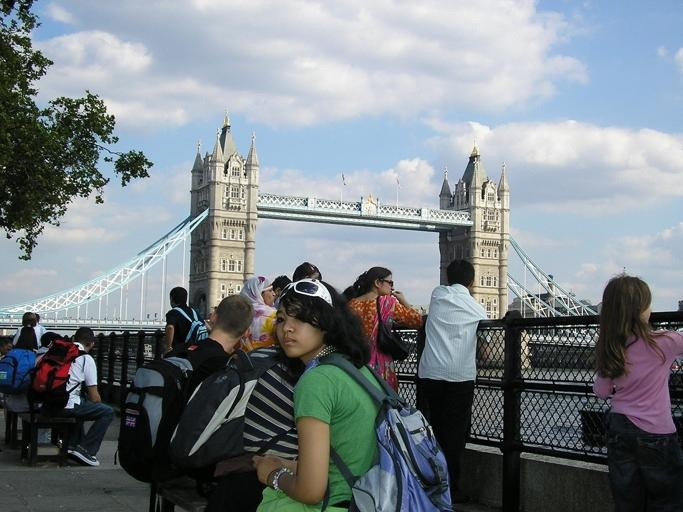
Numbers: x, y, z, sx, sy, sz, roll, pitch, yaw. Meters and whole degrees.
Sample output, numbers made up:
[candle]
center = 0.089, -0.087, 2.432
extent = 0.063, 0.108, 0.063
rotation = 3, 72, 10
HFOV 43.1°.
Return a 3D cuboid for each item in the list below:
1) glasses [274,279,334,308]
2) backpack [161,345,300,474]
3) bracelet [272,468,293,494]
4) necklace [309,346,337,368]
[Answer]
[glasses]
center = -0.135, 0.150, 3.866
extent = 0.148, 0.157, 0.046
rotation = 0, 30, 17
[backpack]
center = -0.559, 0.715, 4.031
extent = 0.662, 0.652, 0.416
rotation = 9, -5, -13
[bracelet]
center = -0.267, 0.976, 3.745
extent = 0.090, 0.102, 0.037
rotation = 29, 1, 28
[necklace]
center = -0.086, 0.445, 3.802
extent = 0.103, 0.055, 0.079
rotation = -35, -1, 30
